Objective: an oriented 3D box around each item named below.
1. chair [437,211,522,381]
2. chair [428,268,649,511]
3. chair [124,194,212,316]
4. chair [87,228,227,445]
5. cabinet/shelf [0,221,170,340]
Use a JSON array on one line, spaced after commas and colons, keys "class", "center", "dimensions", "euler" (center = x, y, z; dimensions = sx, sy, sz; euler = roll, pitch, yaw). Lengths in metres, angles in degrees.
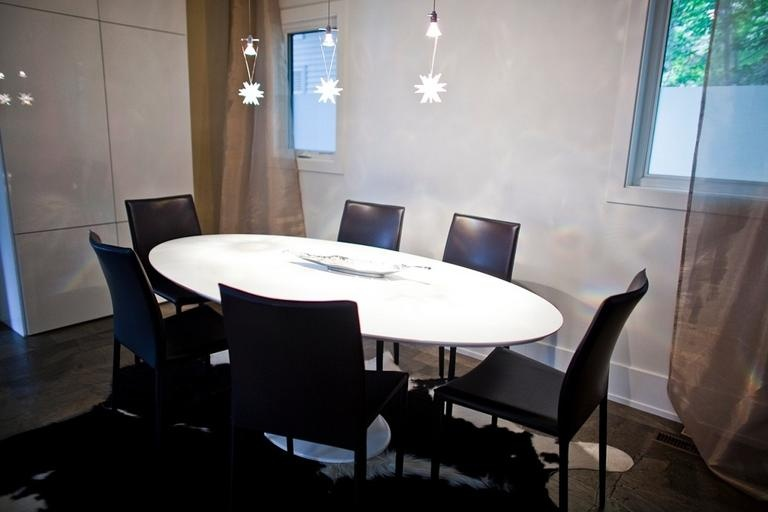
[{"class": "chair", "center": [0.572, 0.287, 3.576], "dimensions": [0.578, 0.953, 0.645], "euler": [18, 31, 17]}, {"class": "chair", "center": [0.778, 0.630, 2.794], "dimensions": [0.897, 1.141, 0.630], "euler": [10, 19, 25]}, {"class": "chair", "center": [-1.593, -0.007, 4.076], "dimensions": [0.486, 0.514, 0.871], "euler": [-11, -22, -16]}, {"class": "chair", "center": [-1.304, 0.429, 3.319], "dimensions": [0.776, 1.115, 0.626], "euler": [-7, 20, -44]}, {"class": "cabinet/shelf", "center": [-2.187, 0.175, 3.834], "dimensions": [0.771, 0.683, 0.242], "euler": [-15, 19, -40]}]
